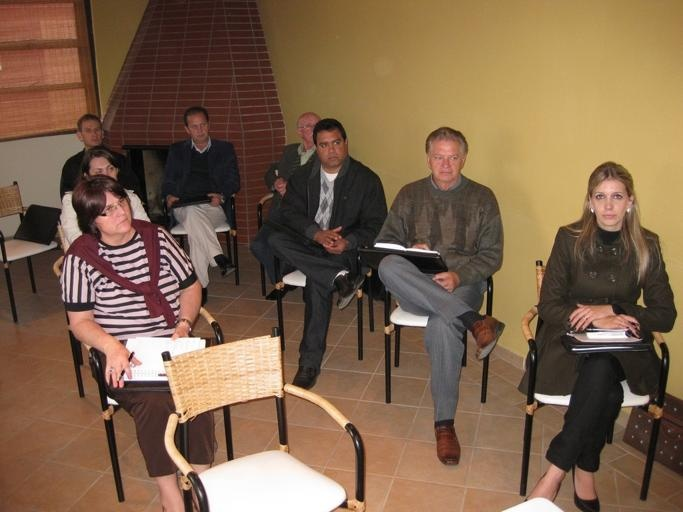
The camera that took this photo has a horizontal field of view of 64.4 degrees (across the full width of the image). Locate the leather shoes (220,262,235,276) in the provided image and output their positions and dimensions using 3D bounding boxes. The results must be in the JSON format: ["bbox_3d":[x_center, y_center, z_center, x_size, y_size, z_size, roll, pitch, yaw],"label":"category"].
[{"bbox_3d":[-1.000,0.098,4.689,0.075,0.070,0.162,-6,3,-1],"label":"leather shoes"}]

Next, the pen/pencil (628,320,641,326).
[{"bbox_3d":[1.386,0.315,2.554,0.033,0.018,0.008,32,25,0],"label":"pen/pencil"}]

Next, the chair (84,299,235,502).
[{"bbox_3d":[-0.999,0.788,2.891,0.538,0.881,0.518,-18,2,-29],"label":"chair"}]

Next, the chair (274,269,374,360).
[{"bbox_3d":[-0.158,0.252,4.022,0.806,0.778,0.600,2,15,15],"label":"chair"}]

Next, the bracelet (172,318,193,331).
[{"bbox_3d":[-0.767,0.322,2.649,0.073,0.065,0.047,8,5,-24],"label":"bracelet"}]

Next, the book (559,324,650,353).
[{"bbox_3d":[1.245,0.392,2.522,0.371,0.089,0.145,4,18,9],"label":"book"}]

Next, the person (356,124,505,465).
[{"bbox_3d":[0.581,0.132,3.146,0.759,1.657,1.020,3,17,4],"label":"person"}]

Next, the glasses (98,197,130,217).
[{"bbox_3d":[-1.056,-0.231,2.517,0.055,0.091,0.151,16,22,38],"label":"glasses"}]

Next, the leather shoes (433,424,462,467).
[{"bbox_3d":[0.572,0.981,2.955,0.127,0.118,0.335,1,26,-1],"label":"leather shoes"}]

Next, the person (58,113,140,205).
[{"bbox_3d":[-2.134,-0.760,4.688,0.649,0.931,0.500,-10,4,-29],"label":"person"}]

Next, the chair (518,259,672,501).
[{"bbox_3d":[1.236,0.628,2.747,0.721,1.001,0.772,-6,15,-7],"label":"chair"}]

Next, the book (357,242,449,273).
[{"bbox_3d":[0.362,0.017,3.164,0.519,0.178,0.159,10,19,25],"label":"book"}]
